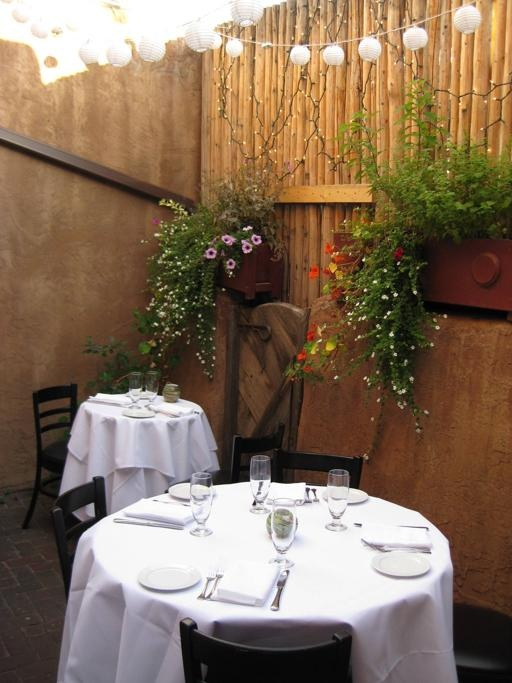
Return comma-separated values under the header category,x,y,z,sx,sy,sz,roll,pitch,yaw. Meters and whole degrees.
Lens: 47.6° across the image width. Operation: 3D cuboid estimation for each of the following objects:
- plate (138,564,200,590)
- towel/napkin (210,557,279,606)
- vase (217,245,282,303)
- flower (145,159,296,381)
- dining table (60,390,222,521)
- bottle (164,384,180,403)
category,x,y,z,sx,sy,sz,roll,pitch,yaw
plate,-0.233,0.629,1.540,0.163,0.025,0.137,3,4,1
towel/napkin,-0.030,0.627,1.509,0.139,0.035,0.180,4,4,15
vase,-0.027,-0.536,4.595,0.348,0.444,0.447,7,6,39
flower,-0.212,-0.464,4.859,0.868,1.437,1.430,-6,1,-26
dining table,-0.618,0.757,3.658,0.723,0.505,0.731,-2,-18,-32
bottle,-0.574,0.352,3.965,0.120,0.142,0.121,-1,-1,15
